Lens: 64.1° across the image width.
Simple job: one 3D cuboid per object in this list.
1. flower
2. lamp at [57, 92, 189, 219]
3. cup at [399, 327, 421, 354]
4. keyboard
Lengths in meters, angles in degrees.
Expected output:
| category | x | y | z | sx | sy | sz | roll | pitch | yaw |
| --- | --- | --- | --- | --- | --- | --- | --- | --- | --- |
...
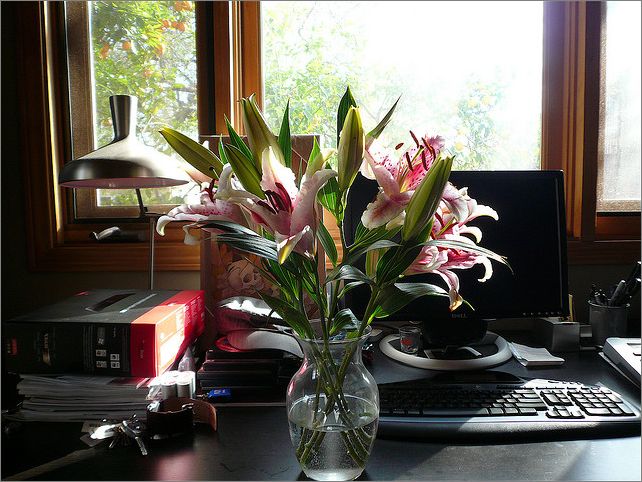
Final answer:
| category | x | y | z | sx | sy | sz | roll | pitch | yaw |
| --- | --- | --- | --- | --- | --- | --- | --- | --- | --- |
| flower | 0.029 | 0.103 | 1.323 | 0.694 | 0.858 | 0.430 | 2 | 8 | -5 |
| lamp | -0.582 | -0.305 | 1.534 | 0.336 | 0.245 | 0.342 | 6 | 11 | 42 |
| cup | 0.272 | 0.304 | 1.555 | 0.064 | 0.058 | 0.061 | 0 | 1 | 0 |
| keyboard | 0.452 | 0.408 | 1.240 | 0.331 | 0.035 | 0.118 | -1 | 14 | -3 |
